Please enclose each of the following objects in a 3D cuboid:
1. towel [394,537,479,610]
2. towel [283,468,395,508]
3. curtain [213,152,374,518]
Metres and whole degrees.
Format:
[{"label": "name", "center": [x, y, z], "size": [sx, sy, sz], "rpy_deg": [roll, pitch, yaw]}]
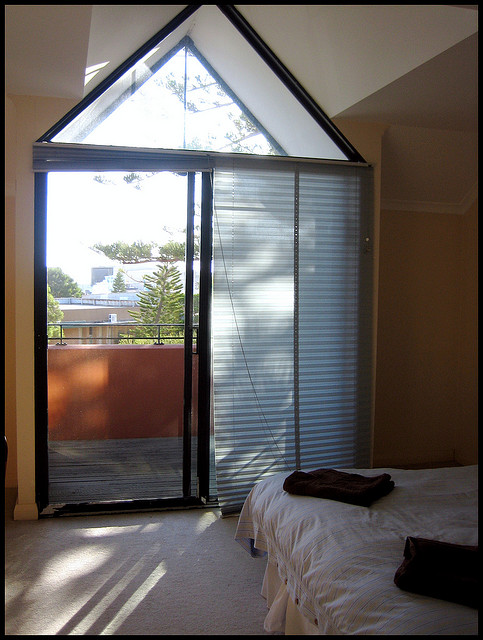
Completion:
[{"label": "towel", "center": [0.575, 0.655, 1.541], "size": [0.207, 0.073, 0.209], "rpy_deg": [2, 23, 14]}, {"label": "towel", "center": [0.459, 0.746, 2.412], "size": [0.528, 0.129, 0.516], "rpy_deg": [10, -19, -10]}, {"label": "curtain", "center": [0.354, 0.068, 3.436], "size": [1.104, 2.204, 0.204], "rpy_deg": [-1, 3, -22]}]
